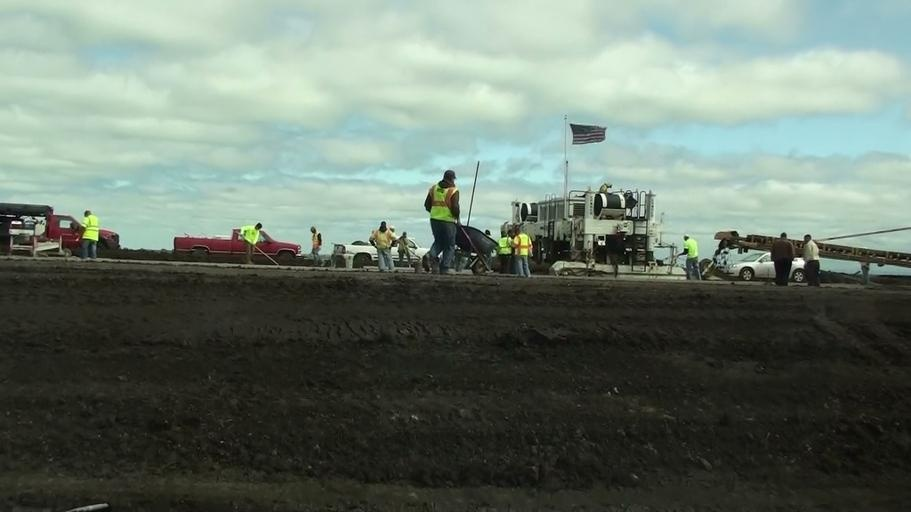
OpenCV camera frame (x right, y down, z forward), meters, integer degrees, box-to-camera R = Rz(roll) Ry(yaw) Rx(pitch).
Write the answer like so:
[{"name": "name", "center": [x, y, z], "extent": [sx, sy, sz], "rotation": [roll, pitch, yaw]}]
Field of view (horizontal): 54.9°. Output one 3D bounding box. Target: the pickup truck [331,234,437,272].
[{"name": "pickup truck", "center": [-2.516, -0.099, 35.042], "extent": [4.547, 1.468, 2.180], "rotation": [-2, 1, -12]}]

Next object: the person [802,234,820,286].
[{"name": "person", "center": [8.825, 0.112, 21.551], "extent": [0.315, 0.941, 0.746], "rotation": [4, 2, 18]}]

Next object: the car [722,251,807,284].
[{"name": "car", "center": [9.415, 0.392, 26.315], "extent": [2.337, 0.753, 1.018], "rotation": [3, -4, -3]}]

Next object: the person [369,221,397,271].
[{"name": "person", "center": [-2.017, -0.160, 24.610], "extent": [1.037, 0.606, 1.833], "rotation": [8, -36, 2]}]

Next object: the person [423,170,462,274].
[{"name": "person", "center": [-0.236, -0.680, 17.337], "extent": [0.635, 1.970, 1.322], "rotation": [3, 2, -2]}]
